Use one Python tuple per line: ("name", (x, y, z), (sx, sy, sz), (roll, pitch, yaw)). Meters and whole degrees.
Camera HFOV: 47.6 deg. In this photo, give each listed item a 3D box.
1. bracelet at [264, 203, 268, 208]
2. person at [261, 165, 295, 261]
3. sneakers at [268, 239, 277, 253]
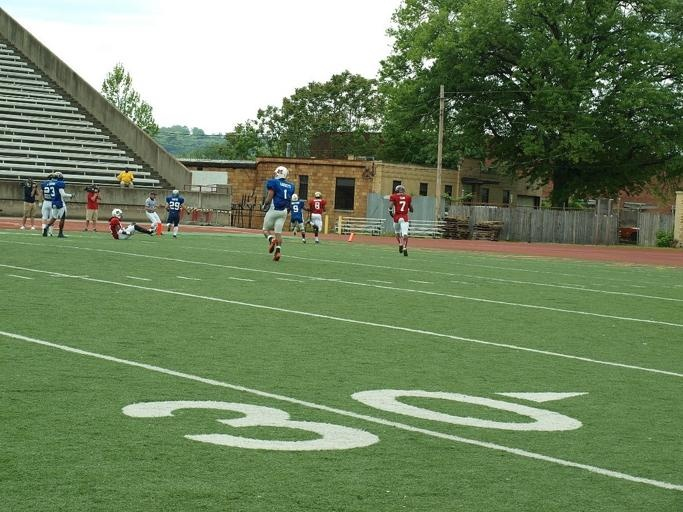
("bracelet", (-1.826, -1.195, 18.718), (0.156, 0.081, 0.112), (-7, 12, 3))
("person", (-1.575, -0.997, 19.069), (0.671, 2.289, 1.244), (3, 4, -4))
("sneakers", (-1.740, -0.222, 19.538), (0.131, 0.344, 0.151), (14, 29, -25))
